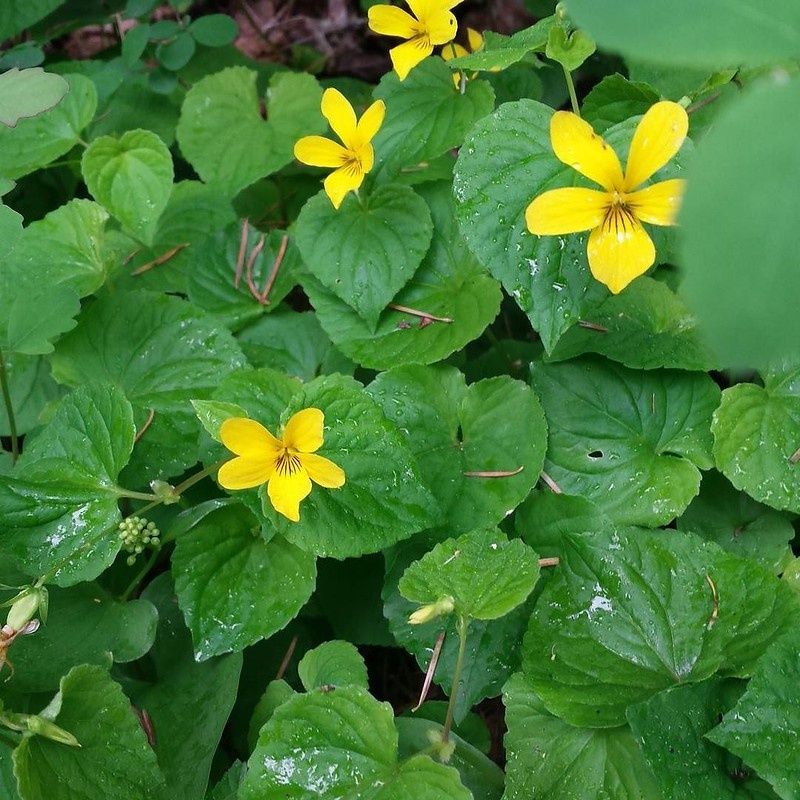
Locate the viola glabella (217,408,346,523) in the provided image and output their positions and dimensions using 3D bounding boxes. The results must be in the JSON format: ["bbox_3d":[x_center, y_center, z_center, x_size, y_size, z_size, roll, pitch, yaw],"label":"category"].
[{"bbox_3d":[-0.163,0.065,1.168,0.164,0.052,0.167,-29,16,-33],"label":"viola glabella"}]
